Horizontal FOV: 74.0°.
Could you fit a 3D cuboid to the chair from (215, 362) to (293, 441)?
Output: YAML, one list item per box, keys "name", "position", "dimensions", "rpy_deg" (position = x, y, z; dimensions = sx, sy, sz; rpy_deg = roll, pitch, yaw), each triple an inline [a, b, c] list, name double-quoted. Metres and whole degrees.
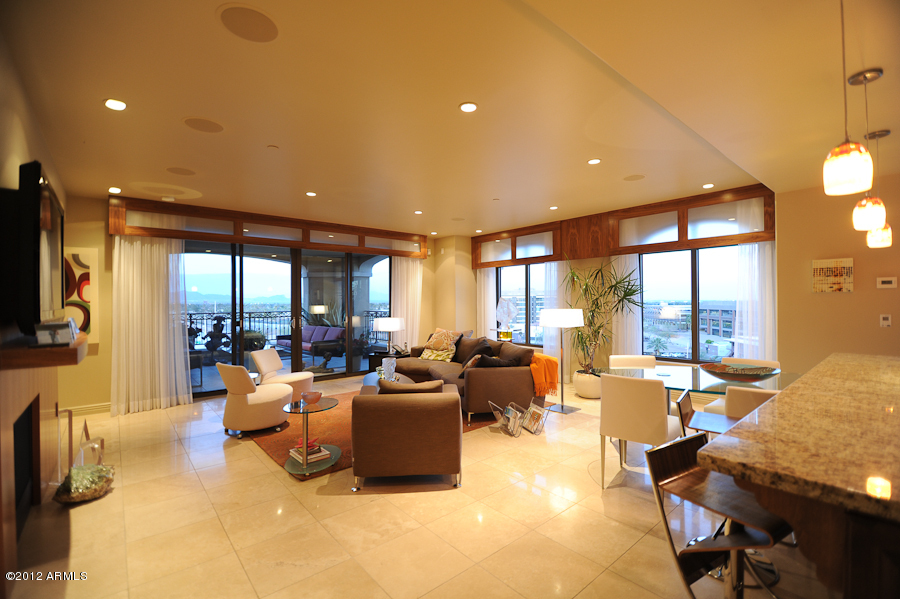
- name: "chair"
  position: [-2.331, 1.119, 7.212]
  dimensions: [0.844, 0.931, 0.931]
  rpy_deg: [5, 6, 45]

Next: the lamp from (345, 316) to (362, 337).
- name: "lamp"
  position: [-1.611, 0.464, 10.175]
  dimensions: [0.317, 0.350, 0.324]
  rpy_deg: [6, 5, 34]

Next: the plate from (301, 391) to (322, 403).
- name: "plate"
  position: [-1.391, 0.995, 6.050]
  dimensions: [0.191, 0.125, 0.173]
  rpy_deg: [0, 0, -20]

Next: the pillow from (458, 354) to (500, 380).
- name: "pillow"
  position: [0.365, 0.810, 7.421]
  dimensions: [0.472, 0.278, 0.347]
  rpy_deg: [-1, 0, 21]

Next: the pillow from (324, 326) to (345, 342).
- name: "pillow"
  position: [-1.903, 0.579, 9.901]
  dimensions: [0.237, 0.231, 0.086]
  rpy_deg: [7, -5, -31]

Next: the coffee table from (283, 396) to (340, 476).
- name: "coffee table"
  position: [-1.486, 1.362, 6.223]
  dimensions: [0.665, 0.634, 0.743]
  rpy_deg: [3, 5, 23]

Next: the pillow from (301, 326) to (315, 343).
- name: "pillow"
  position: [-2.274, 0.547, 9.577]
  dimensions: [0.054, 0.218, 0.207]
  rpy_deg: [6, -7, 37]

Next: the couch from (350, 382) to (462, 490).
- name: "couch"
  position: [-0.399, 1.344, 5.711]
  dimensions: [1.039, 0.960, 0.320]
  rpy_deg: [-1, 0, -4]

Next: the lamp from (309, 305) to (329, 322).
- name: "lamp"
  position: [-2.111, 0.211, 9.763]
  dimensions: [0.258, 0.453, 0.253]
  rpy_deg: [3, 5, 1]

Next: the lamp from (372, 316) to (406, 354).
- name: "lamp"
  position: [-0.967, 0.595, 9.768]
  dimensions: [0.490, 0.593, 1.381]
  rpy_deg: [-1, -1, -6]

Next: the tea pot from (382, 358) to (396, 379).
- name: "tea pot"
  position: [-0.870, 0.974, 8.513]
  dimensions: [0.188, 0.276, 0.185]
  rpy_deg: [3, 3, 0]

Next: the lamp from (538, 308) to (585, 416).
- name: "lamp"
  position: [1.642, 0.800, 8.769]
  dimensions: [0.526, 1.313, 2.306]
  rpy_deg: [-1, 0, 11]

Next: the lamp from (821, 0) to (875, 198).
- name: "lamp"
  position: [3.055, -1.426, 4.612]
  dimensions: [0.285, 1.218, 1.140]
  rpy_deg: [-1, 0, 32]

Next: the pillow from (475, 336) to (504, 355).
- name: "pillow"
  position: [0.551, 0.646, 8.160]
  dimensions: [0.251, 0.077, 0.251]
  rpy_deg: [10, 8, 32]
